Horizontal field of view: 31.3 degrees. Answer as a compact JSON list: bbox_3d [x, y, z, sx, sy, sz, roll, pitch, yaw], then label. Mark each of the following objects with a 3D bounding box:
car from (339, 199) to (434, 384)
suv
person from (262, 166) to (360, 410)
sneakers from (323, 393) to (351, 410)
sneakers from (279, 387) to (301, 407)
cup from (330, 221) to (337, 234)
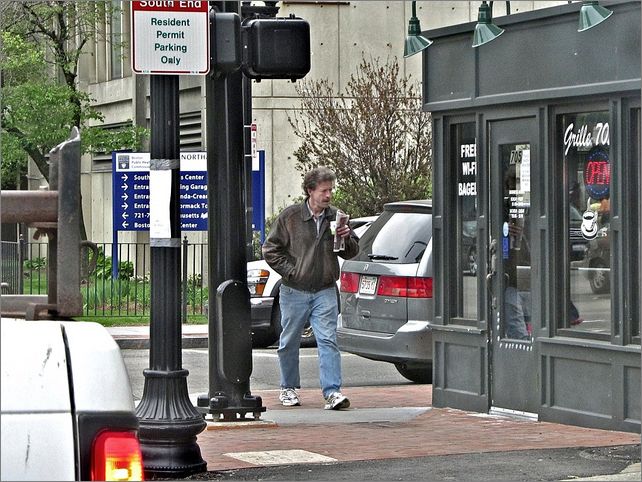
[{"bbox_3d":[0.743,0.575,12.485,0.941,1.050,1.770,2,5,26],"label":"car"},{"bbox_3d":[-0.069,0.819,16.400,2.125,1.326,1.173,0,1,-27],"label":"suv"},{"bbox_3d":[-0.095,0.472,11.002,0.876,2.344,0.504,-2,1,2],"label":"person"},{"bbox_3d":[0.144,1.537,10.956,0.112,0.146,0.277,5,-14,-25],"label":"sneakers"},{"bbox_3d":[-0.296,1.544,11.254,0.095,0.136,0.262,1,-3,-21],"label":"sneakers"},{"bbox_3d":[0.159,-0.171,14.697,0.092,0.163,0.049,0,-4,-16],"label":"cup"}]
